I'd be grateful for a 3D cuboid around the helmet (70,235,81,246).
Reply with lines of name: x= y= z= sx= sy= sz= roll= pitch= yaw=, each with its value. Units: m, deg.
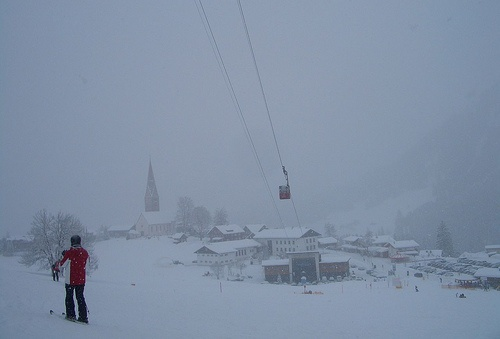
helmet: x=-7.883 y=3.229 z=18.601 sx=0.354 sy=0.520 sz=0.461 roll=3 pitch=-11 yaw=-25
